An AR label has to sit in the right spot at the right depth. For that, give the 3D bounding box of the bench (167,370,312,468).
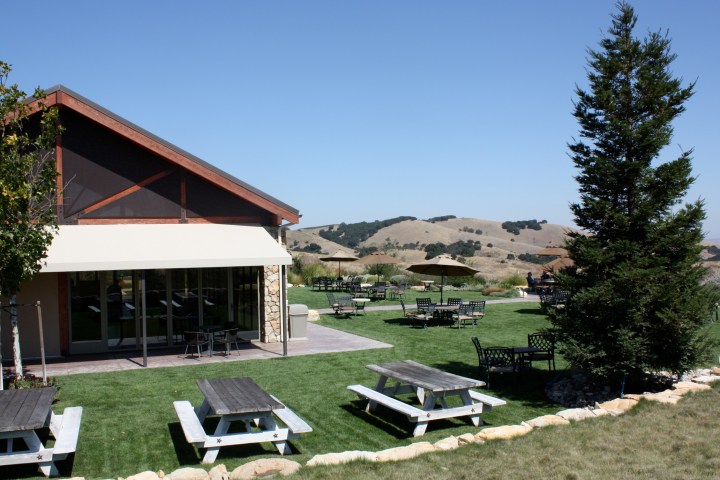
[{"bbox_3d":[-3.012,4.488,12.493,2.254,0.671,2.663,5,-1,-25],"label":"bench"}]

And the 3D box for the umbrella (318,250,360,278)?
[{"bbox_3d":[-1.926,1.694,47.651,4.335,2.171,3.570,-1,-4,11],"label":"umbrella"}]

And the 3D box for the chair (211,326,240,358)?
[{"bbox_3d":[-5.817,4.350,21.287,1.240,1.281,1.338,3,1,26],"label":"chair"}]

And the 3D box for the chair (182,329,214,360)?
[{"bbox_3d":[-6.795,4.262,20.846,1.160,1.076,2.066,-1,-6,-18],"label":"chair"}]

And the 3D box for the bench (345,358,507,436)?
[{"bbox_3d":[1.926,4.525,14.548,2.846,1.550,3.155,1,-7,-33],"label":"bench"}]
